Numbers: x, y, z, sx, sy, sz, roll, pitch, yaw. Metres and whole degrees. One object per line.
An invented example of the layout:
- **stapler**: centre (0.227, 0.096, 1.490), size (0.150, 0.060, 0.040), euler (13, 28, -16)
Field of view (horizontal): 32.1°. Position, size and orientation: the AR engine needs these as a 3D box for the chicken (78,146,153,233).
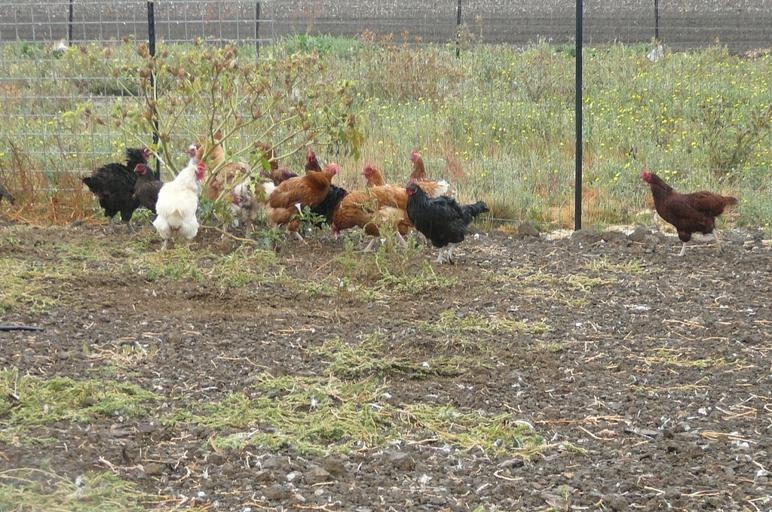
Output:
- **chicken**: centre (-4.317, -1.083, 21.431), size (1.430, 1.544, 0.812), euler (-5, 19, -12)
